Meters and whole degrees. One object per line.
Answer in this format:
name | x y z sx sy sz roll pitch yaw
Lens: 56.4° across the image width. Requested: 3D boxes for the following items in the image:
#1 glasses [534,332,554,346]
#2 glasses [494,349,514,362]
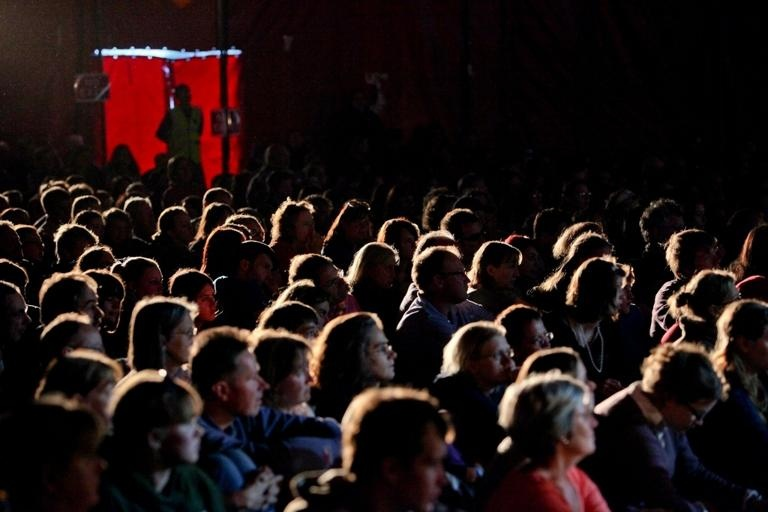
glasses | 1.206 0.626 5.404 0.073 0.120 0.162 -2 -2 -8
glasses | 0.807 0.662 4.841 0.051 0.070 0.171 -5 -6 42
